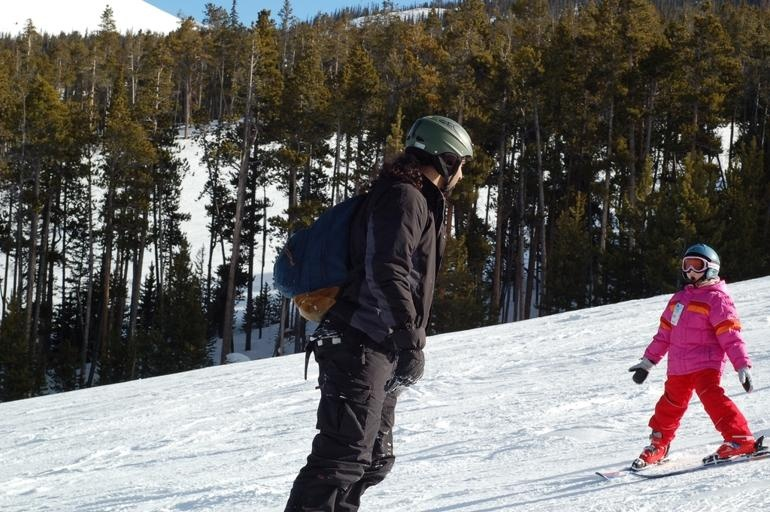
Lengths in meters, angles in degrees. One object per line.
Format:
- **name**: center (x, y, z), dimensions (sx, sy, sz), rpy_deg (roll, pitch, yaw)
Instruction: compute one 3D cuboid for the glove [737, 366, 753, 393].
- **glove**: center (13.559, 4.657, 35.505), dimensions (0.392, 1.139, 0.602), rpy_deg (-13, -10, 30)
